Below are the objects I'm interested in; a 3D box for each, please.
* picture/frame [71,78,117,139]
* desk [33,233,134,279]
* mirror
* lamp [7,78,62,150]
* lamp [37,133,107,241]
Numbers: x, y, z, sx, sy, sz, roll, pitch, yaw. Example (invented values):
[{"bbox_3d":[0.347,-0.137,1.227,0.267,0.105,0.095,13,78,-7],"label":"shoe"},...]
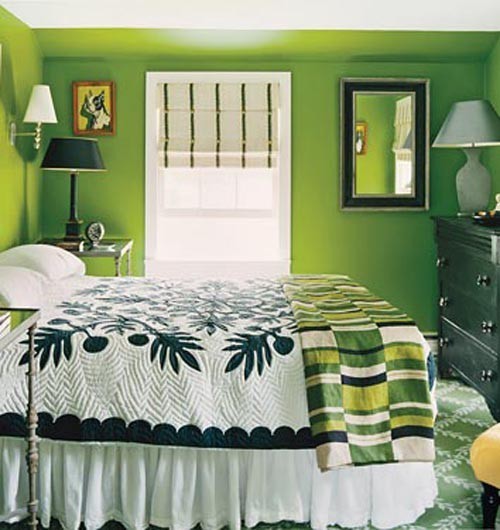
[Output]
[{"bbox_3d":[-1.121,-1.131,4.222,0.284,0.410,0.066,-5,43,-17],"label":"picture/frame"},{"bbox_3d":[-1.021,-0.109,3.978,0.380,0.410,0.405,1,5,4],"label":"desk"},{"bbox_3d":[0.969,-0.919,4.246,0.850,1.351,0.061,0,2,-1],"label":"mirror"},{"bbox_3d":[-1.389,-0.945,3.763,0.262,0.416,0.193,0,15,-24],"label":"lamp"},{"bbox_3d":[-1.183,-0.497,3.924,0.415,0.679,0.421,-2,10,-30],"label":"lamp"}]
